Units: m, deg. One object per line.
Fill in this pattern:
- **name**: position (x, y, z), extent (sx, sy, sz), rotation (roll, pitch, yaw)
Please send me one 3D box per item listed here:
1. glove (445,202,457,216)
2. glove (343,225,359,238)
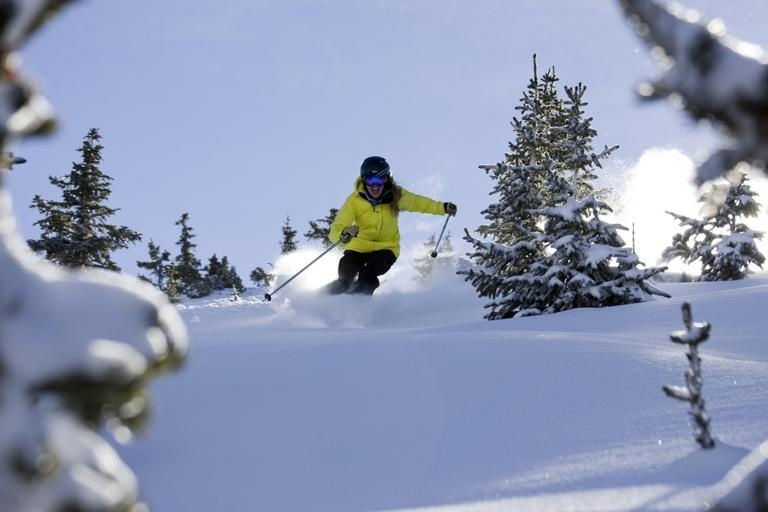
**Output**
- **glove**: position (0.983, -0.685, 10.683), extent (0.167, 0.180, 0.458), rotation (14, -1, -5)
- **glove**: position (-0.452, -0.335, 9.802), extent (0.189, 0.177, 0.274), rotation (14, -1, -5)
